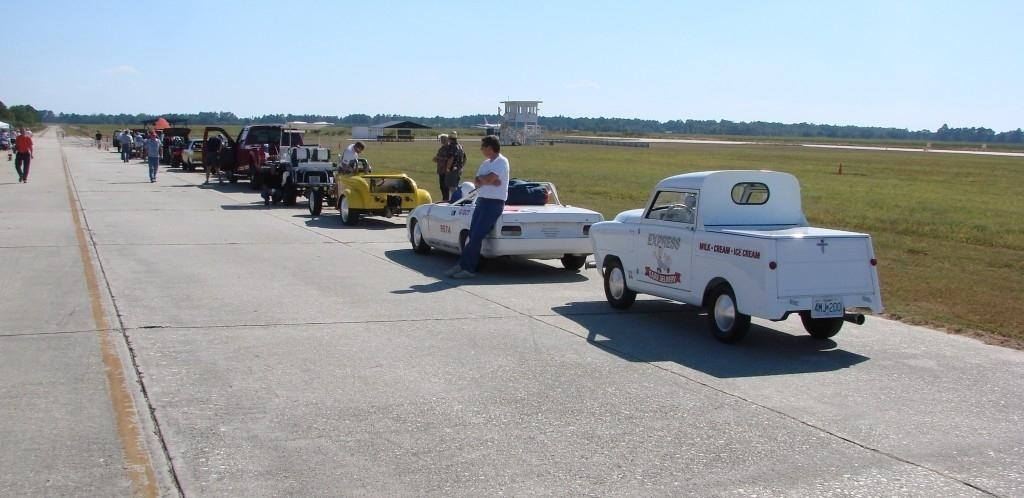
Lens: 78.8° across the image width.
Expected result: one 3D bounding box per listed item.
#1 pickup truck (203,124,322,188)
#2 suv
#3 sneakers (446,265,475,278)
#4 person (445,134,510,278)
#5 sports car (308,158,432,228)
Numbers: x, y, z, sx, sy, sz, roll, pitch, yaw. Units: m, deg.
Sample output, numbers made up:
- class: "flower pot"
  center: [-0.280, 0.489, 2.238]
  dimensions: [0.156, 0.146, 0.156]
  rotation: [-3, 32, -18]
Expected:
- class: "pickup truck"
  center: [-14.001, -5.207, 32.829]
  dimensions: [5.640, 2.000, 3.918]
  rotation: [-5, -9, 43]
- class: "suv"
  center: [-8.247, -2.954, 25.504]
  dimensions: [2.429, 2.127, 4.275]
  rotation: [2, -5, -22]
- class: "sneakers"
  center: [-1.225, 0.497, 14.057]
  dimensions: [0.755, 0.257, 0.228]
  rotation: [4, 7, -3]
- class: "person"
  center: [-0.685, -0.945, 13.907]
  dimensions: [1.110, 3.143, 0.651]
  rotation: [1, 12, -8]
- class: "sports car"
  center: [-4.890, -1.724, 21.960]
  dimensions: [2.885, 1.500, 4.429]
  rotation: [-3, 3, -29]
